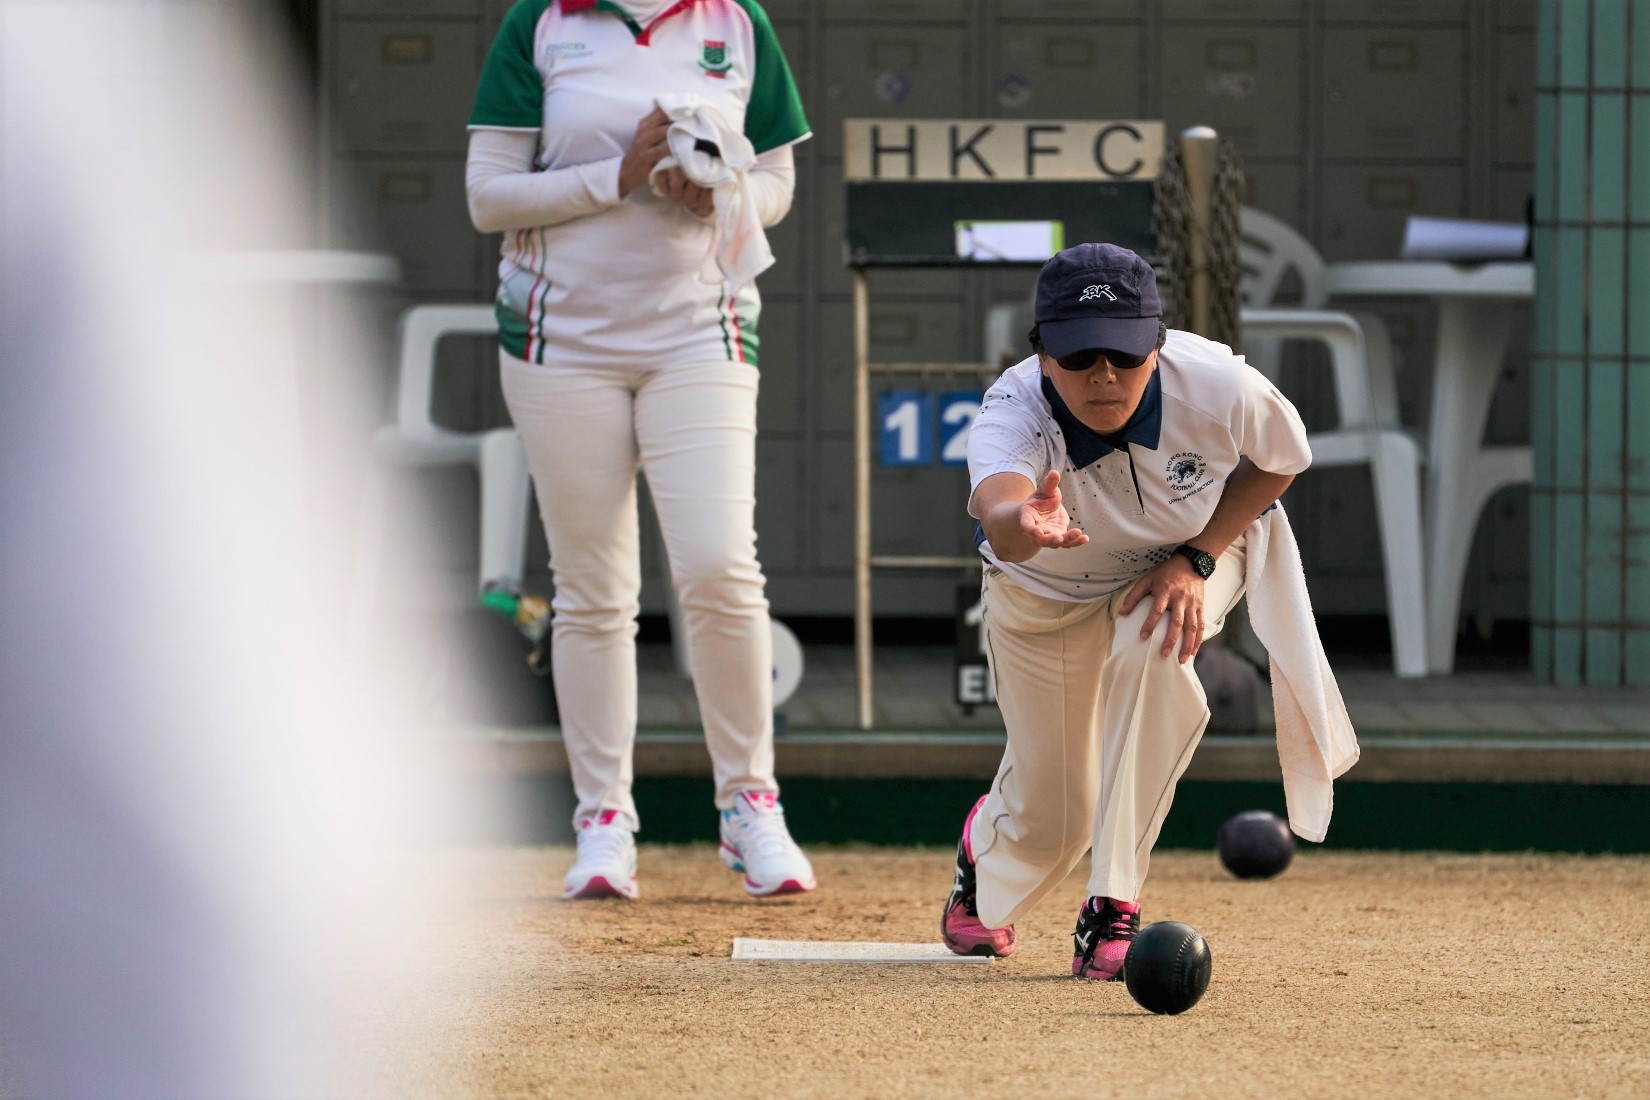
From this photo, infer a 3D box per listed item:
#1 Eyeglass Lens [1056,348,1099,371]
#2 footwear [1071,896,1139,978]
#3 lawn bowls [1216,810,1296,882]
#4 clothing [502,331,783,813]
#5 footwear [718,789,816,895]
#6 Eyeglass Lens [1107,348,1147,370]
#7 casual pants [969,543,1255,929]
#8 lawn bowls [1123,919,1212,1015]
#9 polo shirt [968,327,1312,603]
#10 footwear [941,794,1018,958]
[{"bbox_3d":[0.475,-0.352,6.039,0.047,0.051,0.015,-5,-2,9],"label":"Eyeglass Lens"},{"bbox_3d":[0.557,0.723,6.243,0.087,0.181,0.249,10,3,-7],"label":"footwear"},{"bbox_3d":[0.979,0.658,7.420,0.148,0.146,0.148,-2,19,1],"label":"lawn bowls"},{"bbox_3d":[-0.400,0.055,6.789,0.542,1.183,0.328,-1,1,-3],"label":"clothing"},{"bbox_3d":[-0.128,0.605,6.795,0.113,0.151,0.304,-3,11,-23],"label":"footwear"},{"bbox_3d":[0.558,-0.351,6.043,0.044,0.014,0.047,2,37,0],"label":"Eyeglass Lens"},{"bbox_3d":[0.473,0.270,6.399,0.365,0.881,0.644,0,-9,-41],"label":"casual pants"},{"bbox_3d":[0.641,0.764,6.041,0.168,0.176,0.169,5,-6,1],"label":"lawn bowls"},{"bbox_3d":[0.597,-0.329,6.210,0.696,0.567,0.473,0,28,4],"label":"polo shirt"},{"bbox_3d":[0.303,0.659,6.446,0.111,0.352,0.154,1,5,0],"label":"footwear"}]
